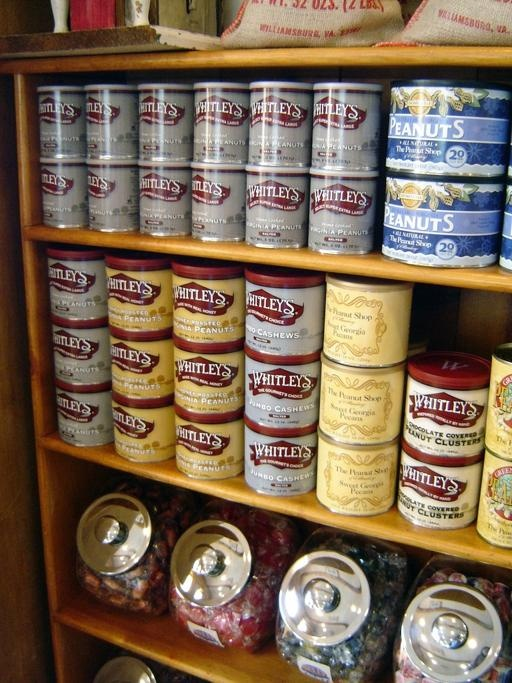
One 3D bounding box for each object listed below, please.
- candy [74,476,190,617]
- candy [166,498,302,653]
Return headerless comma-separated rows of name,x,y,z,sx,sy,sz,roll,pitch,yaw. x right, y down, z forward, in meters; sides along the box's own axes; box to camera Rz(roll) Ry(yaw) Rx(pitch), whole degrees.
candy,-0.238,0.420,1.327,0.244,0.276,0.236,12,30,30
candy,-0.100,0.430,1.244,0.265,0.257,0.282,8,18,24
